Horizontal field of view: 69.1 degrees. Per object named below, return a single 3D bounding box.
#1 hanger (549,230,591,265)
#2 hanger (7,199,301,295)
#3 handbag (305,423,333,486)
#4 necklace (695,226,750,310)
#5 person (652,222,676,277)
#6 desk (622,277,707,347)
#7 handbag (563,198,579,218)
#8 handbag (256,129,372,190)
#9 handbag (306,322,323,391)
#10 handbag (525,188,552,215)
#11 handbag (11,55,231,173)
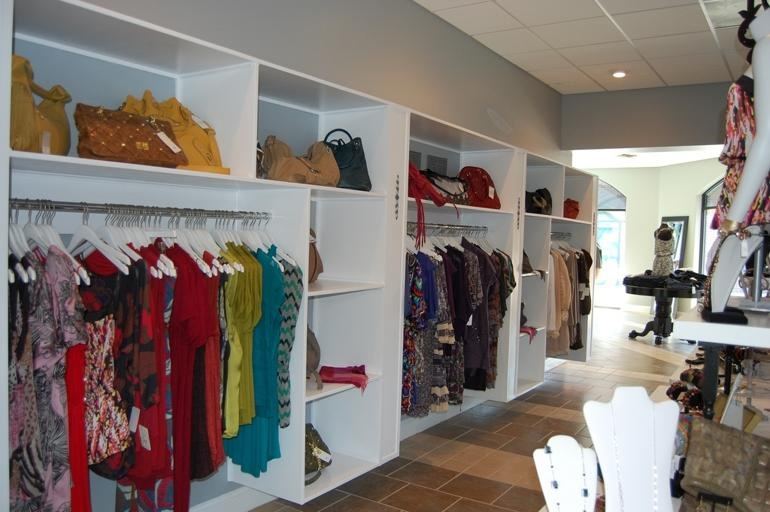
[{"bbox_3d":[2.200,-0.131,6.717,0.364,0.229,0.599,-1,-12,40],"label":"hanger"},{"bbox_3d":[-1.130,-0.082,3.172,1.666,0.604,0.477,-3,5,-44],"label":"hanger"},{"bbox_3d":[-0.484,1.294,3.713,0.250,0.270,0.275,-3,5,-35],"label":"handbag"},{"bbox_3d":[1.203,0.022,2.008,0.141,0.380,0.114,9,-6,16],"label":"necklace"},{"bbox_3d":[4.560,-0.118,9.172,0.303,0.839,1.641,3,5,26],"label":"person"},{"bbox_3d":[4.264,0.803,8.464,1.183,0.947,1.231,6,6,32],"label":"desk"},{"bbox_3d":[2.236,-0.573,6.757,0.179,0.204,0.243,4,34,7],"label":"handbag"},{"bbox_3d":[-0.457,-0.609,3.641,0.468,0.302,0.459,1,4,-38],"label":"handbag"},{"bbox_3d":[-0.484,0.660,3.720,0.093,0.312,0.217,-8,-14,9],"label":"handbag"},{"bbox_3d":[1.599,-0.558,5.923,0.310,0.324,0.128,-1,2,-33],"label":"handbag"},{"bbox_3d":[-1.280,-0.672,2.968,0.364,0.482,1.205,7,5,43],"label":"handbag"}]
